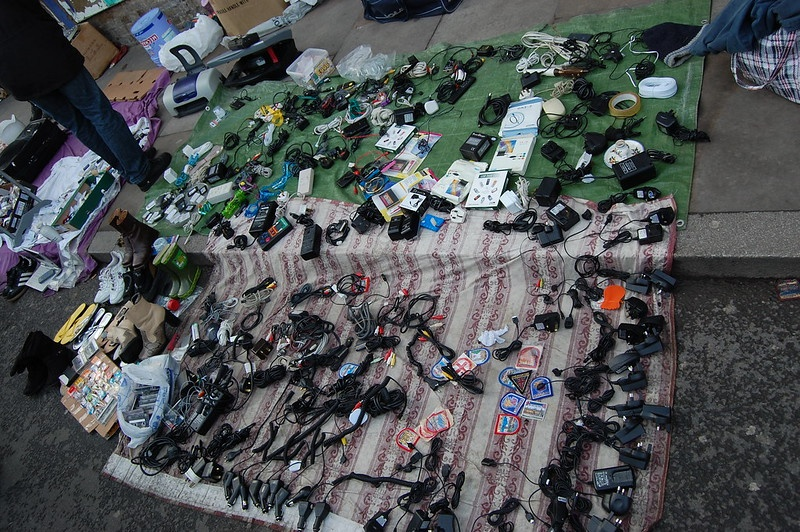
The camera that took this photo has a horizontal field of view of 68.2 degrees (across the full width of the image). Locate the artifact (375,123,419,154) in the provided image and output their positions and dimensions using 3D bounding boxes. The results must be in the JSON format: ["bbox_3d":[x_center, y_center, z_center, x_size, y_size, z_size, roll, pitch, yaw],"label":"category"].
[{"bbox_3d":[-0.049,-1.613,7.387,0.409,0.142,0.392,4,53,42],"label":"artifact"}]

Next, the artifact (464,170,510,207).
[{"bbox_3d":[0.961,-0.902,6.713,0.109,0.499,0.485,22,100,16],"label":"artifact"}]

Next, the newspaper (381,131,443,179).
[{"bbox_3d":[0.144,-1.313,7.207,0.532,0.042,0.903,22,71,36],"label":"newspaper"}]

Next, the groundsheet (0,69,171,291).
[{"bbox_3d":[-4.835,-1.382,9.442,2.827,0.160,3.008,9,69,45],"label":"groundsheet"}]

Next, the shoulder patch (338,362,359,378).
[{"bbox_3d":[-0.568,1.114,6.305,0.131,0.049,0.184,9,55,38],"label":"shoulder patch"}]

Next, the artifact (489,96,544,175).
[{"bbox_3d":[1.339,-1.523,6.799,0.556,0.140,1.021,4,64,40],"label":"artifact"}]

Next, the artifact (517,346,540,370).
[{"bbox_3d":[1.278,0.909,5.892,0.231,0.056,0.249,4,59,26],"label":"artifact"}]
